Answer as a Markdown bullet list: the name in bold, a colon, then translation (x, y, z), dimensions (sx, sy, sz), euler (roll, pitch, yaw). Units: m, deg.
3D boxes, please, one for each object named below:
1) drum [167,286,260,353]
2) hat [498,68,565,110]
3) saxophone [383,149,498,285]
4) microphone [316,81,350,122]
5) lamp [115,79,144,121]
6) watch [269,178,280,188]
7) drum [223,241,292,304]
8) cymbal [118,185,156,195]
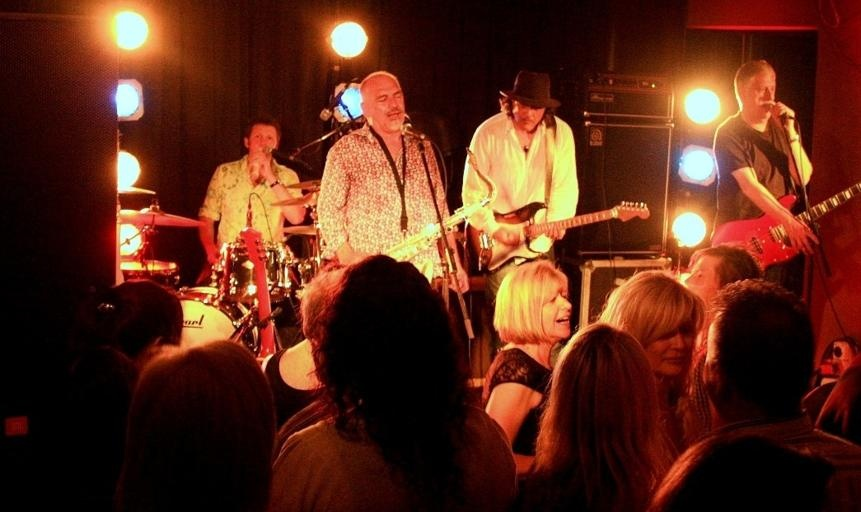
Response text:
- **drum**: translation (-1.450, 0.430, 4.779), dimensions (0.372, 0.361, 0.369), euler (15, -49, -1)
- **hat**: translation (0.796, -1.295, 5.616), dimensions (0.383, 0.201, 0.386), euler (12, 7, 3)
- **saxophone**: translation (0.071, -0.260, 4.857), dimensions (1.045, 0.418, 0.178), euler (-29, 14, -8)
- **microphone**: translation (-0.791, -1.274, 5.971), dimensions (0.103, 0.271, 0.372), euler (19, -20, -40)
- **lamp**: translation (-2.530, -1.340, 5.988), dimensions (0.198, 0.348, 0.292), euler (5, -15, -15)
- **watch**: translation (-1.297, -0.595, 5.895), dimensions (0.080, 0.055, 0.075), euler (-16, -15, 20)
- **drum**: translation (-1.341, 0.115, 5.511), dimensions (0.484, 0.363, 0.480), euler (-1, 0, 0)
- **cymbal**: translation (-2.394, -0.529, 5.743), dimensions (0.199, 0.048, 0.204), euler (1, -4, 19)
